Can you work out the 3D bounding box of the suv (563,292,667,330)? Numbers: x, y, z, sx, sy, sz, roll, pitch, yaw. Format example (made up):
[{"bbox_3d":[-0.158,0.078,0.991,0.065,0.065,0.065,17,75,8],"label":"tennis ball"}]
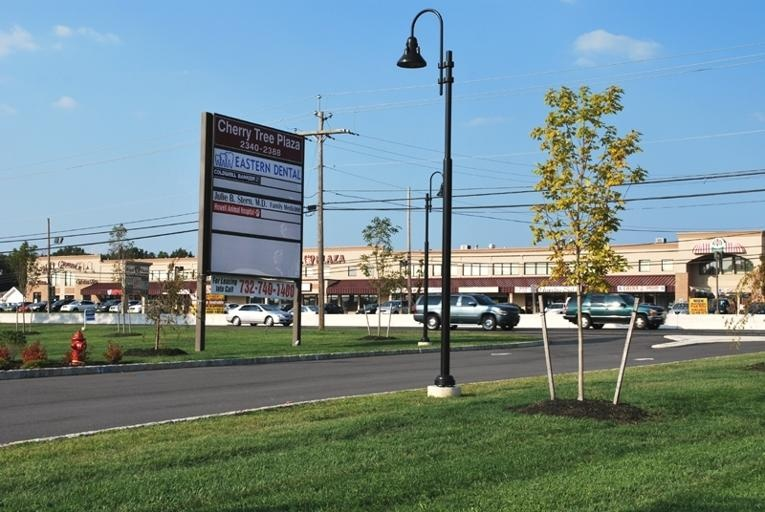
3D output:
[{"bbox_3d":[11.348,2.727,46.162,4.716,1.794,2.186,-3,-4,36],"label":"suv"}]

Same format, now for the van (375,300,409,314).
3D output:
[{"bbox_3d":[0.939,3.856,69.426,1.508,1.118,2.685,-5,-9,29],"label":"van"}]

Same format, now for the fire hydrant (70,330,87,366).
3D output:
[{"bbox_3d":[-8.830,2.631,26.661,0.441,0.984,1.165,1,-3,-19],"label":"fire hydrant"}]
